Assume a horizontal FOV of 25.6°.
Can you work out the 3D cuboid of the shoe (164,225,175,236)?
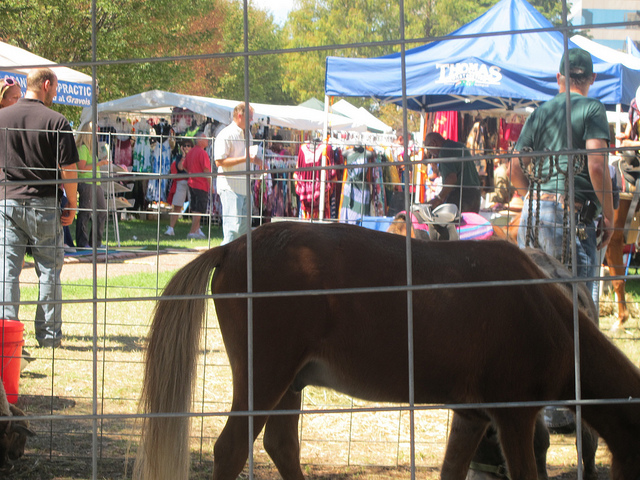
[{"bbox_3d":[-2.867,-0.173,26.777,0.190,0.183,0.337,1,2,-7],"label":"shoe"}]

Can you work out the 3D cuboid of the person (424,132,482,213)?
[{"bbox_3d":[2.189,-1.112,23.201,0.889,1.288,1.261,1,2,-2],"label":"person"}]
